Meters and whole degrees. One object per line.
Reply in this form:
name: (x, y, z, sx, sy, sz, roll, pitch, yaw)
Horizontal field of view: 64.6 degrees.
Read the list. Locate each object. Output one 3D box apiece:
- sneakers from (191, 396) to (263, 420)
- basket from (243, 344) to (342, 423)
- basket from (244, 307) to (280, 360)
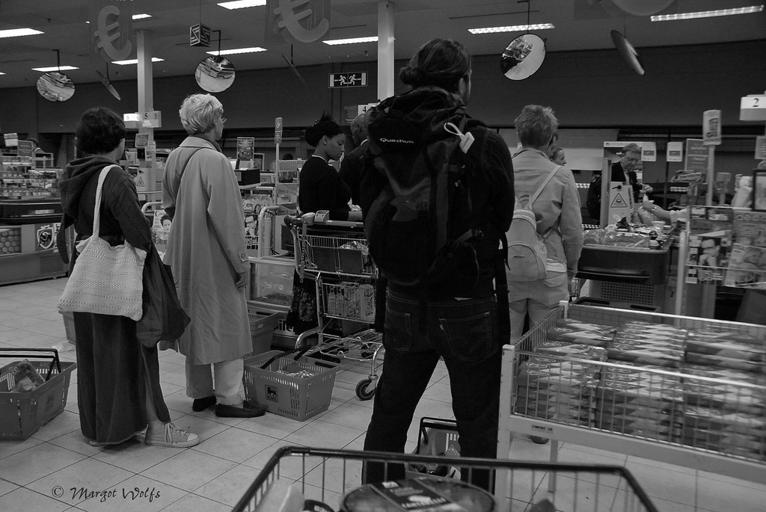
sneakers: (-1.196, 1.207, 4.880, 0.620, 0.240, 0.209, -1, 6, -9)
basket: (-0.787, 1.027, 4.955, 0.660, 0.313, 0.454, 6, 9, 32)
basket: (-1.206, 0.716, 5.858, 0.350, 0.460, 0.444, 7, 8, 32)
